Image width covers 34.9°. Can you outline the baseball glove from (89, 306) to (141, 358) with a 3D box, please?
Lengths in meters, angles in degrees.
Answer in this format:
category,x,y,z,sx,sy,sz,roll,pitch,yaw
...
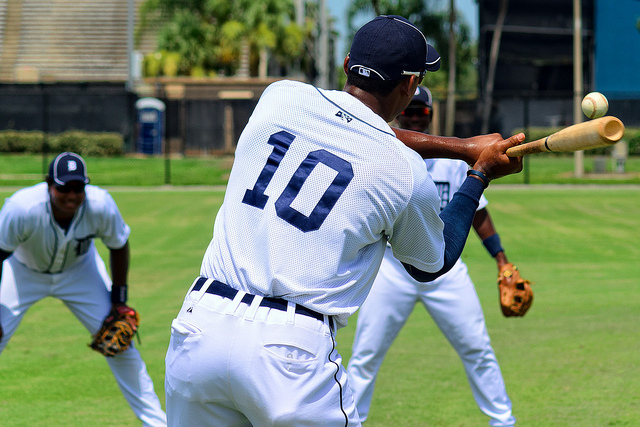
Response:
category,x,y,z,sx,sy,sz,roll,pitch,yaw
baseball glove,-2.090,1.145,10.790,0.400,0.218,0.657,28,23,-5

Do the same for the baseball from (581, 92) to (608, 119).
category,x,y,z,sx,sy,sz,roll,pitch,yaw
baseball,2.391,-0.942,8.899,0.218,0.219,0.219,1,14,9

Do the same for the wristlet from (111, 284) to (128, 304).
category,x,y,z,sx,sy,sz,roll,pitch,yaw
wristlet,-2.116,0.845,10.785,0.191,0.201,0.187,2,1,-10

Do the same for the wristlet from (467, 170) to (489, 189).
category,x,y,z,sx,sy,sz,roll,pitch,yaw
wristlet,1.387,-0.326,8.877,0.160,0.044,0.160,40,2,-14

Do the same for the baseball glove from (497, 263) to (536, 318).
category,x,y,z,sx,sy,sz,roll,pitch,yaw
baseball glove,2.080,0.865,10.669,0.288,0.164,0.400,-23,16,32

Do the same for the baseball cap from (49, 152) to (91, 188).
category,x,y,z,sx,sy,sz,roll,pitch,yaw
baseball cap,-2.583,-0.490,10.487,0.387,0.289,0.552,-4,17,-28
